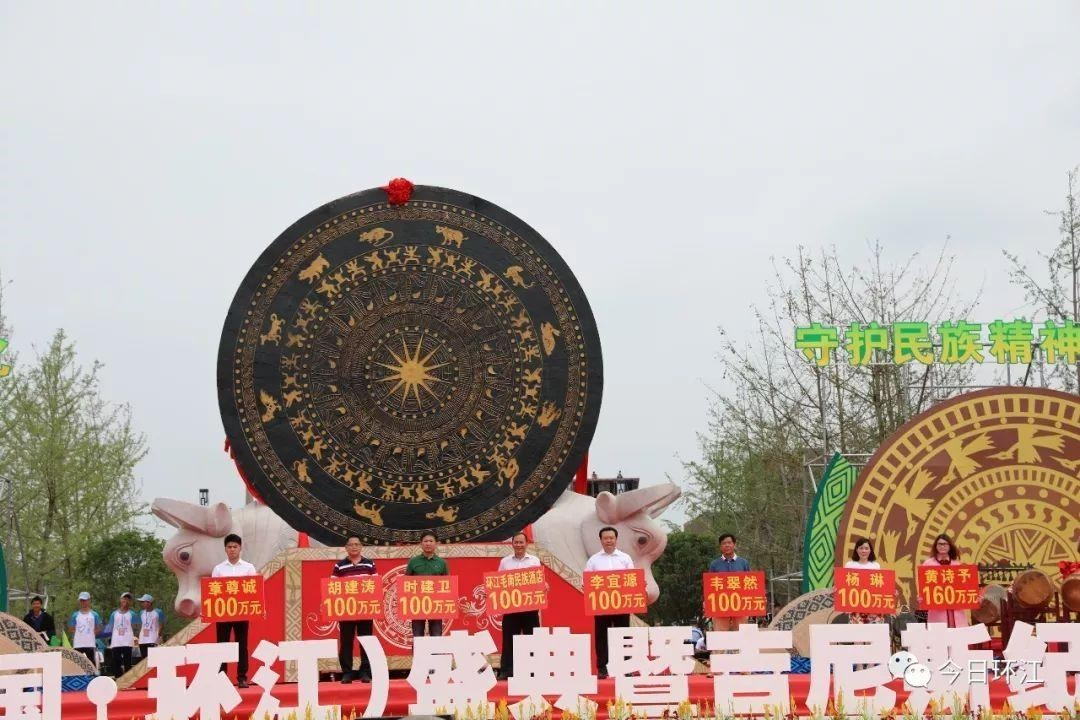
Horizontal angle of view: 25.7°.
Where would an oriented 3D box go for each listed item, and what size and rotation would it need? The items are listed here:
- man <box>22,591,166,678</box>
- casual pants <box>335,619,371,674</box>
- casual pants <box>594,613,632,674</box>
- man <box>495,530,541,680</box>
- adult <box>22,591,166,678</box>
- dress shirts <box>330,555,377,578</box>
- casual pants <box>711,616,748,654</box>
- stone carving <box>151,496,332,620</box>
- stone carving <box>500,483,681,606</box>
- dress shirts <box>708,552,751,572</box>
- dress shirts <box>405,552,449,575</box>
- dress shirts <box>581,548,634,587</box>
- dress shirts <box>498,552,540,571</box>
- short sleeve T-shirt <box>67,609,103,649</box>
[{"bbox_3d":[-8.340,5.151,43.961,2.275,1.390,0.519,1,-10,-28],"label":"man"},{"bbox_3d":[-3.040,4.735,38.486,0.527,0.966,0.471,-1,-16,-5],"label":"casual pants"},{"bbox_3d":[1.128,4.650,38.472,0.539,1.019,0.366,-4,-17,3],"label":"casual pants"},{"bbox_3d":[-0.354,4.148,38.643,0.959,2.447,0.780,0,11,-2],"label":"man"},{"bbox_3d":[-8.340,5.151,43.961,2.275,1.390,0.519,1,-10,-28],"label":"adult"},{"bbox_3d":[-3.079,3.418,38.582,0.671,0.417,0.303,0,-33,-5],"label":"dress shirts"},{"bbox_3d":[2.997,4.434,37.914,0.424,0.348,1.455,13,-1,13],"label":"casual pants"},{"bbox_3d":[-5.293,3.747,45.065,4.388,2.159,1.782,-5,-12,-38],"label":"stone carving"},{"bbox_3d":[0.581,3.206,45.016,4.224,2.380,1.390,13,4,36],"label":"stone carving"},{"bbox_3d":[3.120,3.347,39.428,0.584,0.361,0.258,-2,-26,1],"label":"dress shirts"},{"bbox_3d":[-1.878,3.379,38.541,0.731,0.479,0.323,1,-21,-3],"label":"dress shirts"},{"bbox_3d":[1.104,3.300,38.497,0.882,0.619,0.344,0,-36,1],"label":"dress shirts"},{"bbox_3d":[-0.361,3.300,38.581,0.668,0.478,0.272,-1,-48,-1],"label":"dress shirts"},{"bbox_3d":[-8.478,5.015,44.002,0.460,0.818,0.791,0,-16,-10],"label":"short sleeve T-shirt"}]
